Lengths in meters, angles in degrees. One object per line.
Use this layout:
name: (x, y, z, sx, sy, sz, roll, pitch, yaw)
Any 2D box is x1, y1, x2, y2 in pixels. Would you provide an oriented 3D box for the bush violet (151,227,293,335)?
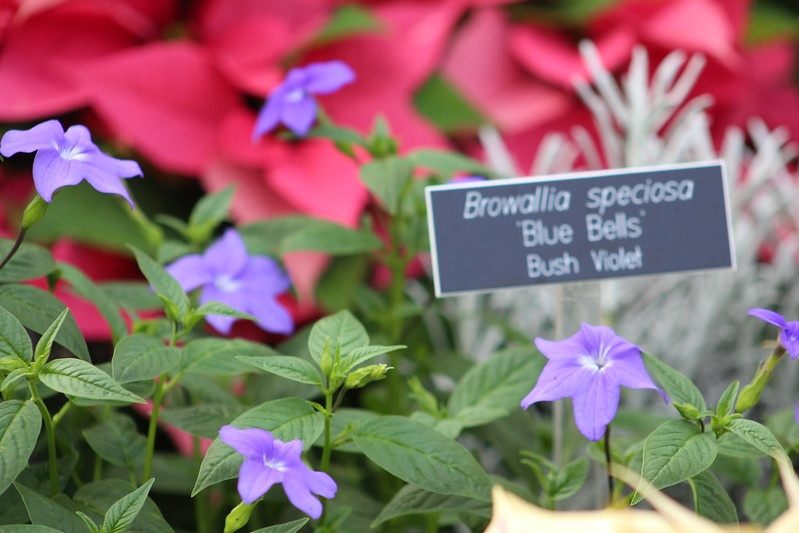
bush violet: (-0.249, -0.007, 1.273, 0.200, 0.158, 0.243, -10, 14, -18)

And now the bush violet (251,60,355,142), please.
bush violet: (-0.122, -0.211, 1.048, 0.132, 0.096, 0.062, -5, 15, -14)

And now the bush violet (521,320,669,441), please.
bush violet: (0.253, 0.165, 1.035, 0.153, 0.167, 0.201, 9, 18, 36)

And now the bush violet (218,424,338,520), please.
bush violet: (-0.151, 0.231, 0.961, 0.119, 0.122, 0.102, -5, 15, -11)

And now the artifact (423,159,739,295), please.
artifact: (0.240, -0.051, 1.094, 0.408, 0.158, 0.048, -2, 15, -3)
